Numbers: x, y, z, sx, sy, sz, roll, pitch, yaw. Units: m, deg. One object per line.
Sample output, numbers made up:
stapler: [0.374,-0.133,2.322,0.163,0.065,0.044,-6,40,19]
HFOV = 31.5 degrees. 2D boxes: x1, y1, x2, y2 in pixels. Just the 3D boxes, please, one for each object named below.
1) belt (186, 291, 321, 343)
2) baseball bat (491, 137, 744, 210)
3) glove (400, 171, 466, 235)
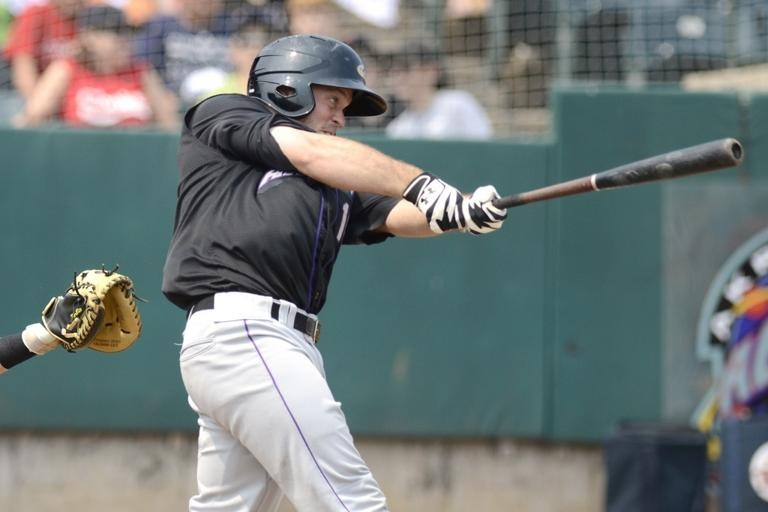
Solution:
belt: [-0.670,0.328,7.185,0.689,0.288,0.163,-1,8,-7]
baseball bat: [1.489,-0.486,8.211,1.545,0.178,0.183,-12,30,22]
glove: [0.276,-0.275,7.182,0.329,0.324,0.139,0,8,6]
